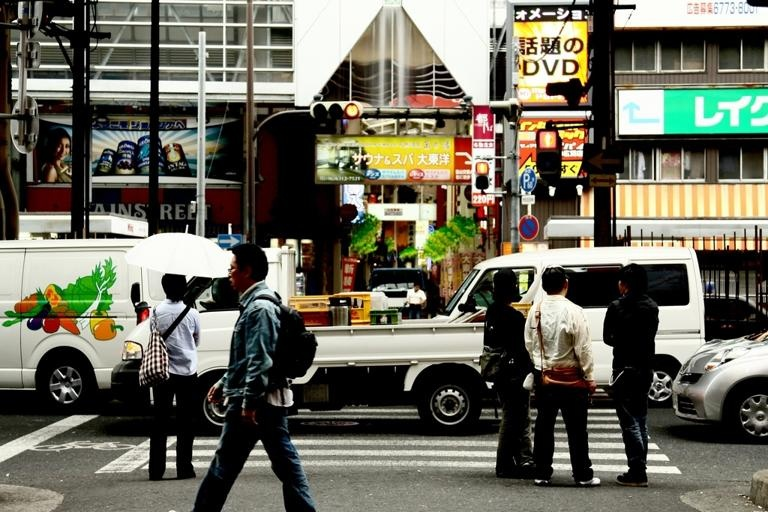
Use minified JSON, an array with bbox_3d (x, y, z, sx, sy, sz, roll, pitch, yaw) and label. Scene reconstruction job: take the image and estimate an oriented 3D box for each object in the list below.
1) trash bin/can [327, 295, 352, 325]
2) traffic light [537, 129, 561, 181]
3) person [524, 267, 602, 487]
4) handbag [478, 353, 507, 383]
[{"bbox_3d":[-0.984,1.237,33.945,0.543,0.680,0.320,1,2,-10],"label":"trash bin/can"},{"bbox_3d":[4.063,-2.523,37.658,0.615,1.295,0.458,1,2,2],"label":"traffic light"},{"bbox_3d":[3.577,2.501,30.956,1.396,4.500,0.349,1,2,8],"label":"person"},{"bbox_3d":[2.232,2.313,31.606,0.436,0.632,0.580,11,0,21],"label":"handbag"}]
